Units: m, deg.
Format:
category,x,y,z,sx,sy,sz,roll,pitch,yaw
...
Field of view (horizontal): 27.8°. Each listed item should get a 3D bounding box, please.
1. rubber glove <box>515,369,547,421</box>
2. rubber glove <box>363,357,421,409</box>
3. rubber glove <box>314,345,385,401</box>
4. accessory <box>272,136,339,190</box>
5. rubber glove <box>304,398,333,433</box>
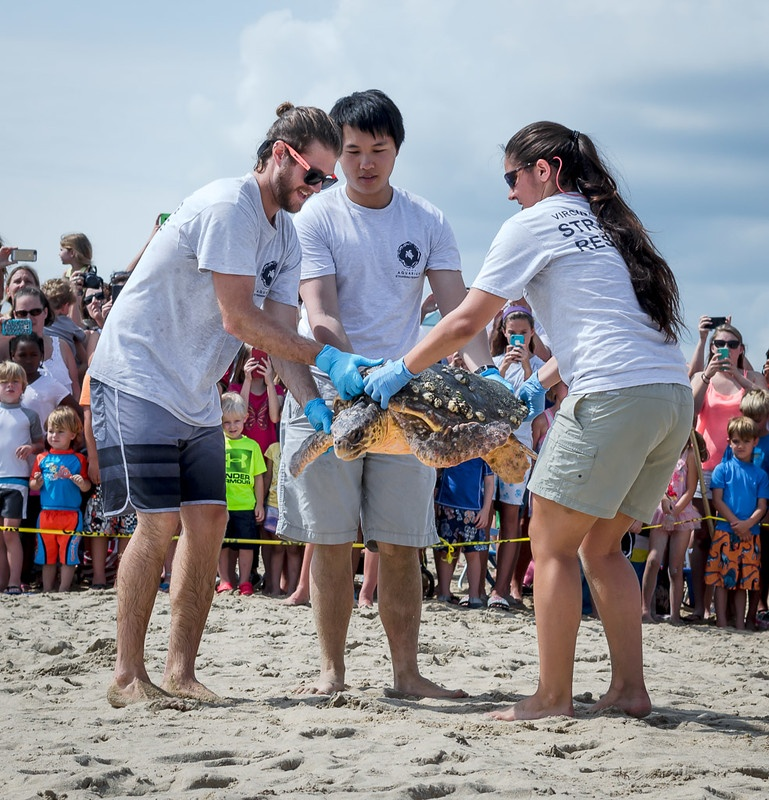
category,x,y,z,sx,sy,sz,roll,pitch,yaw
rubber glove,0.630,0.003,6.488,0.171,0.179,0.057,45,-32,-20
rubber glove,0.033,-0.068,6.068,0.073,0.218,0.152,43,-20,-28
rubber glove,-0.152,-0.125,6.186,0.081,0.169,0.257,-28,0,25
accessory,-0.320,-0.941,6.290,0.245,0.185,0.130,5,-5,-39
rubber glove,-0.267,0.070,6.263,0.091,0.141,0.056,-35,-38,-2
